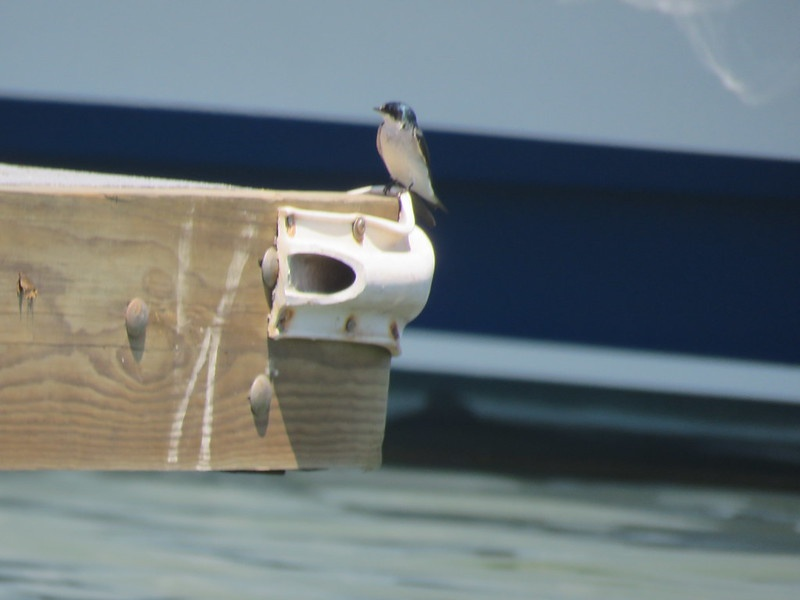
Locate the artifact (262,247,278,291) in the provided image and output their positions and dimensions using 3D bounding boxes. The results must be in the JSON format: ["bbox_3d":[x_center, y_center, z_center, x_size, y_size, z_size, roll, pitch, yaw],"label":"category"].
[{"bbox_3d":[-0.452,-0.110,7.991,0.040,0.102,0.123,5,67,1],"label":"artifact"}]

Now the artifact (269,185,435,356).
[{"bbox_3d":[-0.163,-0.081,7.983,0.515,0.605,0.470,3,52,-4],"label":"artifact"}]

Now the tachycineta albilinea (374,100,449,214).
[{"bbox_3d":[0.060,-0.570,8.608,0.211,0.368,0.367,12,9,39],"label":"tachycineta albilinea"}]

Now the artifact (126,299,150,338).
[{"bbox_3d":[-0.920,0.062,8.020,0.086,0.097,0.126,5,81,-8],"label":"artifact"}]
